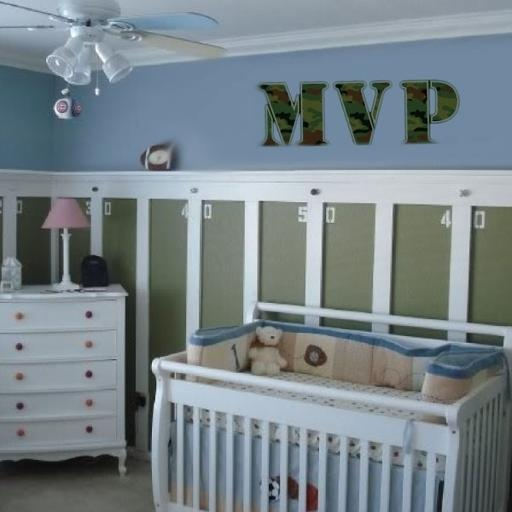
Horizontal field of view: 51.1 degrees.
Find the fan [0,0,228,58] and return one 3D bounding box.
[{"bbox_3d":[-0.359,-0.725,1.743,0.484,0.078,0.502,1,3,3],"label":"fan"}]

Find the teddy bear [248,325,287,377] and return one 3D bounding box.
[{"bbox_3d":[0.061,0.482,2.729,0.189,0.247,0.138,6,-2,-8],"label":"teddy bear"}]

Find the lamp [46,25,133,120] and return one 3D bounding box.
[{"bbox_3d":[-0.536,-0.648,1.747,0.105,0.187,0.220,14,41,32],"label":"lamp"}]

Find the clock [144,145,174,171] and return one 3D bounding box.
[{"bbox_3d":[-0.599,-0.595,3.246,0.174,0.166,0.072,1,3,16],"label":"clock"}]

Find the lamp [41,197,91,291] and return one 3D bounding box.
[{"bbox_3d":[-1.150,-0.085,3.249,0.257,0.545,0.482,-1,3,-20],"label":"lamp"}]
